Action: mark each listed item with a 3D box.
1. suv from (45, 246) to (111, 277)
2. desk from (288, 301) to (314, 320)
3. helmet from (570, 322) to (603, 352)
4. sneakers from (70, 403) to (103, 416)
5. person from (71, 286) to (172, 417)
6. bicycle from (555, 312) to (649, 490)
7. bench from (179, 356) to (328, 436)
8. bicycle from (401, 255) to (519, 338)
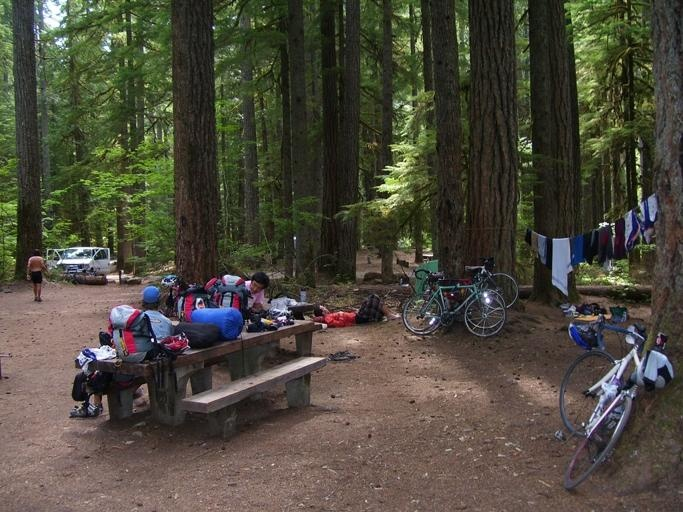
[{"bbox_3d":[-12.420,0.266,29.639,2.066,1.212,2.759,-1,-7,2],"label":"suv"},{"bbox_3d":[-0.850,1.219,12.780,0.334,0.252,0.509,1,2,-14],"label":"desk"},{"bbox_3d":[3.220,1.075,8.110,0.303,0.174,0.403,15,1,-8],"label":"helmet"},{"bbox_3d":[-3.865,2.373,9.270,0.316,0.142,0.240,0,-1,-4],"label":"sneakers"},{"bbox_3d":[-3.203,1.464,8.864,1.553,1.969,0.671,-1,3,20],"label":"person"},{"bbox_3d":[3.321,1.868,7.816,1.041,1.939,1.461,-1,3,20],"label":"bicycle"},{"bbox_3d":[-1.184,2.174,9.269,0.510,0.734,2.991,2,5,30],"label":"bench"},{"bbox_3d":[2.547,0.909,13.519,2.387,1.629,1.388,-2,3,12],"label":"bicycle"}]
